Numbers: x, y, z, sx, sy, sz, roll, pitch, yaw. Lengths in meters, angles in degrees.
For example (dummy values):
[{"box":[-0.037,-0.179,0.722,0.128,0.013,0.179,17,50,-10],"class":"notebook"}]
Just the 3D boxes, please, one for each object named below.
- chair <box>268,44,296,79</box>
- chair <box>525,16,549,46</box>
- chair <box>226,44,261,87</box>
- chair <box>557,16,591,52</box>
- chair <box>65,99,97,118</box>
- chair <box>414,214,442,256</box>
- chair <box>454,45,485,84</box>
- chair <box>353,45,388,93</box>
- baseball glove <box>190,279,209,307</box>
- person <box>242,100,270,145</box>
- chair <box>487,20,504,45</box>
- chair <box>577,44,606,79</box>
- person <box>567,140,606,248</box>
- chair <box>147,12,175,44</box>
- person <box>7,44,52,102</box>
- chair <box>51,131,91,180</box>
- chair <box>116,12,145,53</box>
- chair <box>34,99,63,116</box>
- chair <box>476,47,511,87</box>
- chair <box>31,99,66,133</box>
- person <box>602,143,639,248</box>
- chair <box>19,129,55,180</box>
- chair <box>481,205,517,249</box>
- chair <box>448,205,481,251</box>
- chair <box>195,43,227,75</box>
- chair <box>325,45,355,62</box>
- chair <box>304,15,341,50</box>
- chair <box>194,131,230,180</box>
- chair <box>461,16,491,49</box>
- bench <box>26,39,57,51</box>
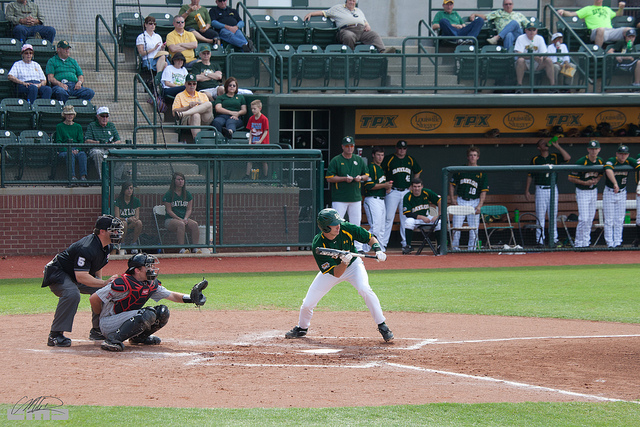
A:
[{"box":[-0.886,-3.817,33.317,1.017,1.031,0.865,0,3,-6],"class":"chair"},{"box":[5.858,-4.876,35.532,0.762,0.807,0.839,0,1,1],"class":"chair"},{"box":[-1.863,-3.689,32.990,1.009,1.177,0.908,0,31,-5],"class":"chair"},{"box":[6.689,-4.798,35.399,0.781,0.804,0.731,-5,20,-18],"class":"chair"},{"box":[-5.531,-2.455,31.112,0.718,0.480,0.609,0,-1,-10],"class":"chair"},{"box":[2.558,0.503,31.435,0.960,1.033,0.691,1,-2,-6],"class":"chair"},{"box":[3.716,-3.724,33.210,0.696,0.982,0.802,-1,-1,4],"class":"chair"},{"box":[1.293,-3.597,33.207,0.900,0.975,0.846,8,14,11],"class":"chair"},{"box":[-2.101,1.388,23.949,0.228,0.351,0.473,11,51,24],"class":"baseball glove"},{"box":[-1.461,-2.129,31.507,0.550,1.055,0.963,0,-1,-2],"class":"person"},{"box":[4.516,-4.737,34.913,0.232,0.549,0.442,-7,6,-23],"class":"chair"},{"box":[6.885,-3.911,34.037,0.659,1.132,2.305,-1,-1,12],"class":"chair"},{"box":[6.285,-0.479,31.585,0.793,2.534,1.053,-1,-1,10],"class":"person"},{"box":[-3.945,-4.676,33.604,0.578,0.891,0.968,0,-1,-7],"class":"chair"},{"box":[-6.777,-3.285,31.370,0.994,1.370,0.595,0,-1,-15],"class":"person"},{"box":[-5.696,-1.267,30.404,1.003,1.138,0.928,1,-1,-24],"class":"chair"},{"box":[-4.801,-4.603,33.732,0.627,1.058,0.813,0,-1,-9],"class":"chair"},{"box":[-6.272,-2.488,30.931,0.618,0.527,0.425,-3,12,-25],"class":"chair"},{"box":[4.323,-3.640,33.211,1.109,1.175,0.933,0,16,1],"class":"chair"},{"box":[-6.222,-2.248,30.956,0.752,0.712,0.901,-8,17,-12],"class":"chair"},{"box":[6.997,-0.401,31.329,0.806,2.365,0.608,0,-1,0],"class":"person"},{"box":[-6.345,-1.336,30.106,0.754,1.129,0.639,0,-1,-11],"class":"chair"},{"box":[4.196,0.295,31.477,0.862,0.875,0.825,1,12,23],"class":"chair"},{"box":[3.323,0.336,30.874,0.802,0.925,0.749,1,5,-6],"class":"chair"},{"box":[-2.532,-3.809,32.962,0.875,0.954,0.777,-1,-1,-18],"class":"chair"},{"box":[0.468,-4.029,33.115,0.609,0.709,0.563,0,7,-3],"class":"chair"},{"box":[0.048,-4.611,34.468,0.844,0.899,0.706,-3,28,-11],"class":"chair"},{"box":[-2.577,-1.451,31.153,0.616,0.516,0.780,7,-17,14],"class":"chair"},{"box":[4.241,-4.774,35.206,0.989,0.983,1.031,-1,2,0],"class":"chair"},{"box":[-6.708,-4.073,32.287,0.487,0.125,0.387,1,23,-14],"class":"bench"}]
